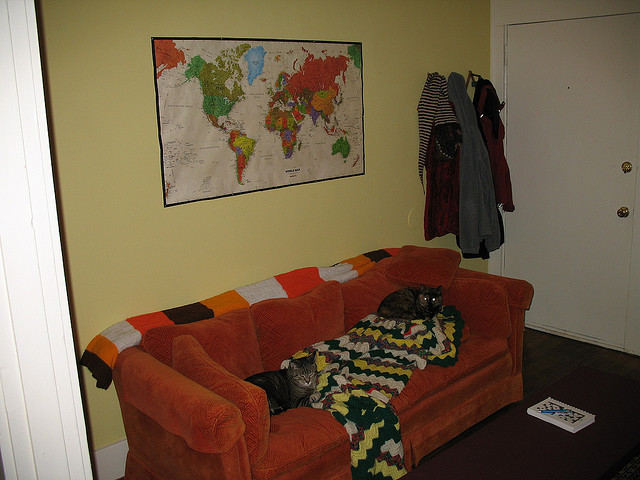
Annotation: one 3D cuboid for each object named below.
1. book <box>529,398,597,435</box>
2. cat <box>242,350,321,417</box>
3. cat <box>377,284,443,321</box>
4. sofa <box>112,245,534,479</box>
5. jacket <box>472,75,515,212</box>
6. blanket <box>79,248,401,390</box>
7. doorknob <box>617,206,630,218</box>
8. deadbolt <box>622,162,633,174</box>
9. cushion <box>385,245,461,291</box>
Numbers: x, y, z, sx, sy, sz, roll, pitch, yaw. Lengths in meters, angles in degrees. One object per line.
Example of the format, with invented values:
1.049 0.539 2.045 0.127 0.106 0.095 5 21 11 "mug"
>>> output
1.098 0.786 2.187 0.230 0.039 0.192 -11 16 -26 "book"
-0.177 0.697 2.419 0.350 0.190 0.216 -19 13 -19 "cat"
0.568 0.386 3.058 0.398 0.210 0.321 -8 18 1 "cat"
-0.014 0.638 2.477 1.898 0.897 0.895 -10 13 -38 "sofa"
1.372 -0.717 3.892 0.221 1.314 0.503 -5 4 -21 "jacket"
-0.341 0.393 2.968 2.007 0.303 0.395 -10 4 -22 "blanket"
2.179 -0.201 3.484 0.072 0.078 0.029 5 15 32 "doorknob"
2.173 -0.513 3.430 0.062 0.066 0.022 6 16 35 "deadbolt"
0.715 0.156 3.214 0.322 0.098 0.325 1 33 30 "cushion"
